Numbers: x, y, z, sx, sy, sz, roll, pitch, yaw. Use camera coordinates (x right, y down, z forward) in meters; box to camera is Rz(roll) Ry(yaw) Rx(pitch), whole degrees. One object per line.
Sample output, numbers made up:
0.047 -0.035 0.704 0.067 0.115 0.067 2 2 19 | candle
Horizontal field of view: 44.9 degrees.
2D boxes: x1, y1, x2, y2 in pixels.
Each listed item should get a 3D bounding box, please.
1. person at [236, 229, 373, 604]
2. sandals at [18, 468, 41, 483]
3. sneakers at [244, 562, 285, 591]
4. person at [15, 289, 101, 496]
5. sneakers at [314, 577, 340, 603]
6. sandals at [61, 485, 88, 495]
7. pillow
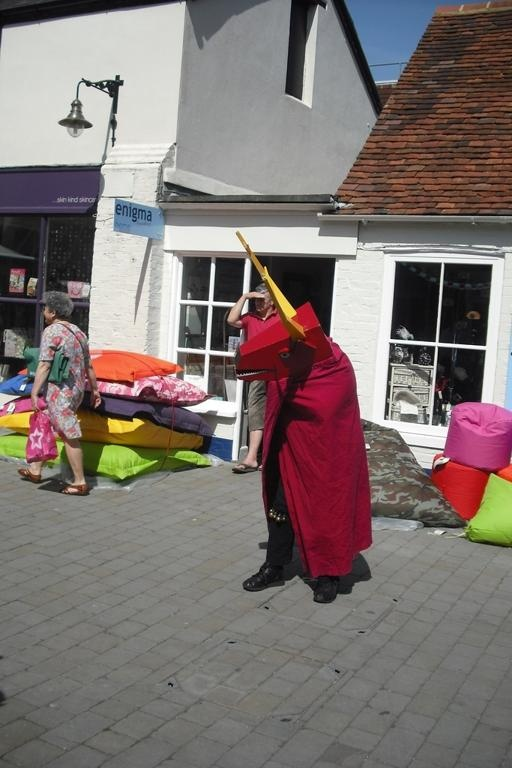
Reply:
0.210 0.332 3.313 0.575 1.228 1.001 4 2 28 | person
-2.003 0.819 5.528 0.220 0.086 0.074 21 28 29 | sandals
0.057 1.129 3.683 0.285 0.161 0.108 1 9 -24 | sneakers
-1.644 0.082 5.367 0.597 1.732 0.616 3 2 -16 | person
0.388 1.161 3.492 0.073 0.079 0.207 -2 -11 13 | sneakers
-1.536 0.895 5.290 0.184 0.069 0.098 7 -1 8 | sandals
-1.220 0.239 6.215 1.500 0.760 1.430 3 3 34 | pillow
